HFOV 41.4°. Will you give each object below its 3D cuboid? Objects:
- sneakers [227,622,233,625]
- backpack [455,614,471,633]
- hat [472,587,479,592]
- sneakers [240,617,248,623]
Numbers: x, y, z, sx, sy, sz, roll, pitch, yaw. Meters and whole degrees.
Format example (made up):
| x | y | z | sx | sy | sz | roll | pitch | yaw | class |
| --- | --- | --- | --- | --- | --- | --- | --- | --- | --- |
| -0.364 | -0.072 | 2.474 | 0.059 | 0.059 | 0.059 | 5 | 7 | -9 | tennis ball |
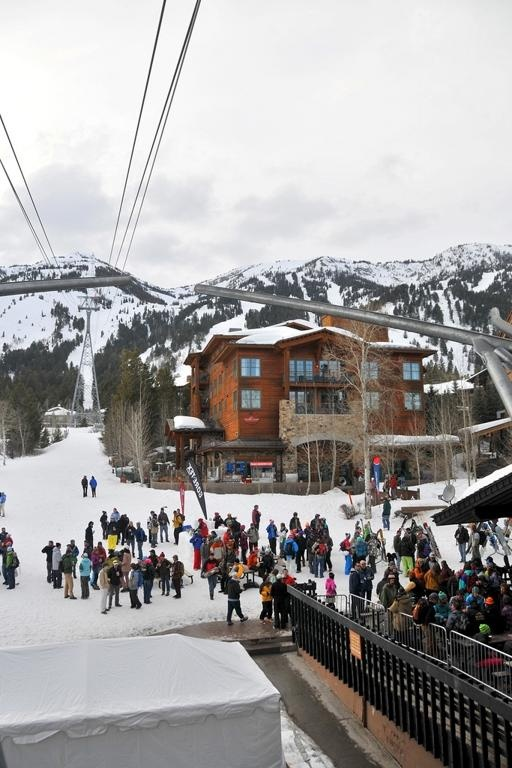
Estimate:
| x | y | z | sx | sy | sz | roll | pitch | yaw | class |
| --- | --- | --- | --- | --- | --- | --- | --- | --- | --- |
| -0.686 | 6.144 | 17.441 | 0.087 | 0.054 | 0.156 | 0 | 2 | 5 | sneakers |
| 3.475 | 4.026 | 11.390 | 0.174 | 0.324 | 0.116 | 8 | -36 | 22 | backpack |
| 4.108 | 3.860 | 12.782 | 0.102 | 0.117 | 0.106 | 2 | -27 | -30 | hat |
| -0.323 | 6.194 | 17.900 | 0.076 | 0.113 | 0.241 | -2 | 6 | 32 | sneakers |
